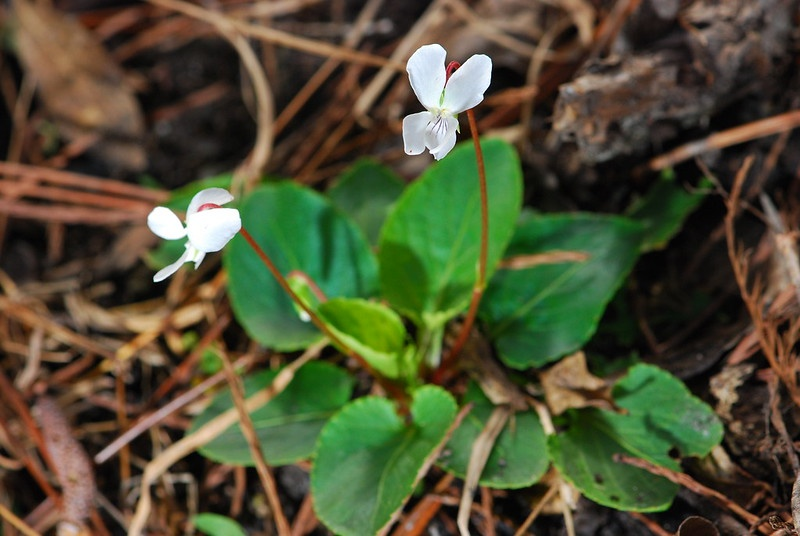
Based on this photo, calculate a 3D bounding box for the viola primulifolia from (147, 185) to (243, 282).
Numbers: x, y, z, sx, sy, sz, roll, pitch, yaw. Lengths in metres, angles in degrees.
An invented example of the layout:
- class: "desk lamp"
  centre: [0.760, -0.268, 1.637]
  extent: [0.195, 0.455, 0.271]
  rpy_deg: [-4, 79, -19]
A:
- class: "viola primulifolia"
  centre: [-0.429, -0.075, 1.797]
  extent: [0.206, 0.102, 0.220]
  rpy_deg: [11, 55, 43]

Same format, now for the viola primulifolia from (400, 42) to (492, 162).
- class: "viola primulifolia"
  centre: [0.112, -0.410, 1.812]
  extent: [0.258, 0.199, 0.100]
  rpy_deg: [-64, -5, 25]
